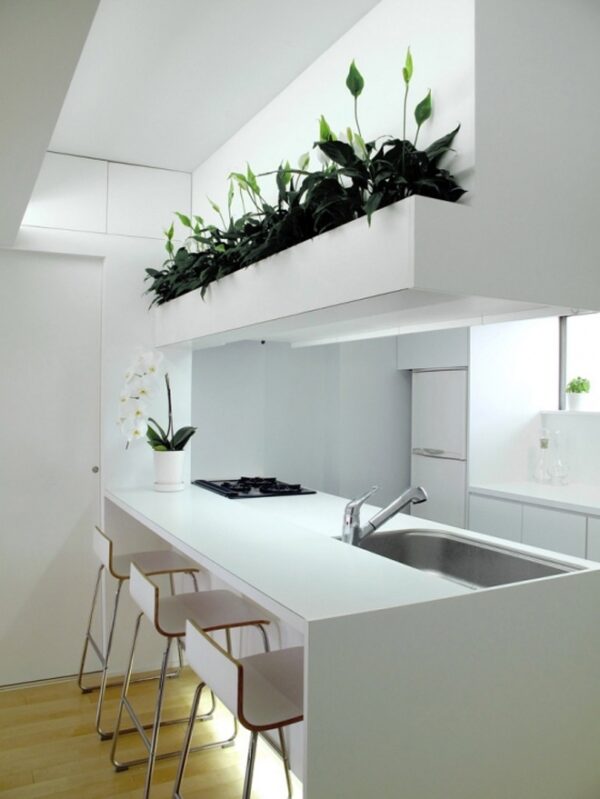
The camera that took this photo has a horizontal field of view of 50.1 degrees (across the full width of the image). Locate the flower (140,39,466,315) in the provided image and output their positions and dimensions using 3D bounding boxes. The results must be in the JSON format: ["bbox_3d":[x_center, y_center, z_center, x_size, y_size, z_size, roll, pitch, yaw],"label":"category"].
[{"bbox_3d":[-0.102,-0.683,2.180,0.361,0.689,1.829,-1,-3,-23],"label":"flower"}]

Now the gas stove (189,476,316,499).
[{"bbox_3d":[-0.249,0.454,3.273,0.500,0.068,0.654,-1,-3,-27],"label":"gas stove"}]

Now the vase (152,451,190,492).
[{"bbox_3d":[-0.620,0.345,3.167,0.204,0.224,0.199,-1,4,-18],"label":"vase"}]

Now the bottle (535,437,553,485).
[{"bbox_3d":[1.530,0.380,4.019,0.089,0.284,0.169,-3,-3,20],"label":"bottle"}]

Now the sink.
[{"bbox_3d":[0.576,0.552,2.152,0.760,0.159,0.229,-5,-3,44],"label":"sink"}]

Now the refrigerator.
[{"bbox_3d":[0.894,0.299,4.291,0.214,1.030,0.716,-2,-3,-11],"label":"refrigerator"}]

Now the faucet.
[{"bbox_3d":[0.275,0.396,2.187,0.292,0.176,0.147,-2,-2,-11],"label":"faucet"}]

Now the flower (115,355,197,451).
[{"bbox_3d":[-0.672,0.021,2.977,0.305,0.530,0.297,19,30,38],"label":"flower"}]
